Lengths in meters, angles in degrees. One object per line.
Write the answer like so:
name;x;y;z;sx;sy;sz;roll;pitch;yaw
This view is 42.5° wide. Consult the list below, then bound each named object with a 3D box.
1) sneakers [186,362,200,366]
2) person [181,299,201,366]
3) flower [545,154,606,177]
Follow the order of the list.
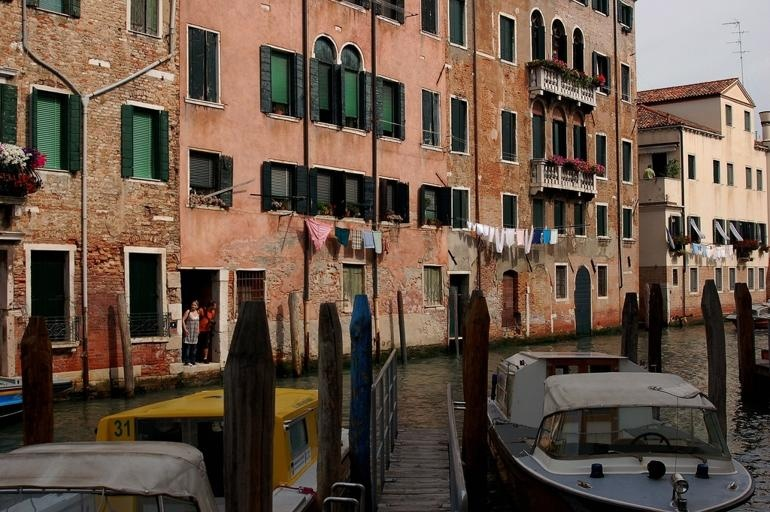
sneakers;-5.973;3.422;31.055;0.362;0.172;0.119;-3;-3;7
person;-6.038;2.422;30.976;0.550;1.960;0.536;5;11;-13
flower;8.407;-4.020;44.207;3.901;0.791;0.762;9;2;-41
